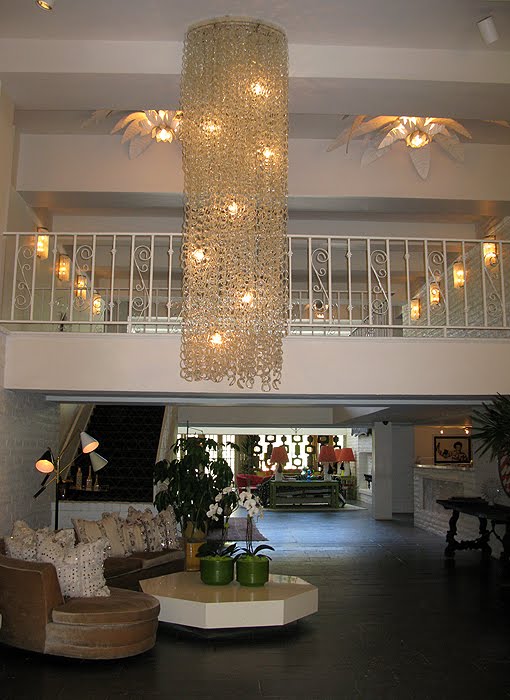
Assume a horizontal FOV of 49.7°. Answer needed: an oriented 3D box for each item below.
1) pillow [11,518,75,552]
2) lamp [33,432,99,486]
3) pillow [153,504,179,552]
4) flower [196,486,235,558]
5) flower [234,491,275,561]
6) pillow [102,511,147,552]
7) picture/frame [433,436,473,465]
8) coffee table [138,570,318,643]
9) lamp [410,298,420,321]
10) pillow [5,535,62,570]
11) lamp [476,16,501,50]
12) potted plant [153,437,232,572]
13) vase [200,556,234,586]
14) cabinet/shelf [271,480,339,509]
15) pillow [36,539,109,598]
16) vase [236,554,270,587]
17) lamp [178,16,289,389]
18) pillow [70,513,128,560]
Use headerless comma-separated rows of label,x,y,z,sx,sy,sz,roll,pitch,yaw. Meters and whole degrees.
pillow,-1.737,1.472,4.340,0.355,0.123,0.371,4,1,-1
lamp,-1.929,1.093,5.529,0.508,0.554,1.654,6,-12,-21
pillow,-0.986,2.030,6.236,0.105,0.358,0.362,-18,-21,22
flower,-0.300,1.669,5.269,0.358,0.665,0.470,11,-23,-12
flower,-0.025,1.537,4.800,0.403,0.589,0.391,-17,-18,40
pillow,-1.362,1.920,5.737,0.123,0.429,0.413,-25,-21,31
picture/frame,5.522,2.788,15.441,0.956,0.800,0.704,-1,-12,16
coffee table,-0.212,1.956,4.222,0.763,0.201,0.842,1,-3,3
lamp,2.725,-0.732,9.316,0.159,0.359,0.655,-2,-12,17
pillow,-1.587,1.445,3.952,0.271,0.085,0.268,5,22,1
lamp,1.542,-2.113,3.626,0.095,0.213,0.215,-6,-14,37
potted plant,-0.637,1.530,6.081,0.655,1.160,0.609,3,-3,-39
vase,-0.315,1.838,4.665,0.237,0.182,0.242,1,-13,-1
cabinet/shelf,1.436,4.055,15.520,1.993,0.782,0.717,2,-11,0
pillow,-1.325,1.519,3.983,0.546,0.496,0.234,5,15,10
vase,-0.008,1.833,4.584,0.252,0.194,0.257,1,-9,-6
lamp,-0.141,-0.831,3.264,0.581,2.018,0.584,0,-1,28
pillow,-1.545,1.895,5.562,0.579,0.469,0.235,6,-23,-43
